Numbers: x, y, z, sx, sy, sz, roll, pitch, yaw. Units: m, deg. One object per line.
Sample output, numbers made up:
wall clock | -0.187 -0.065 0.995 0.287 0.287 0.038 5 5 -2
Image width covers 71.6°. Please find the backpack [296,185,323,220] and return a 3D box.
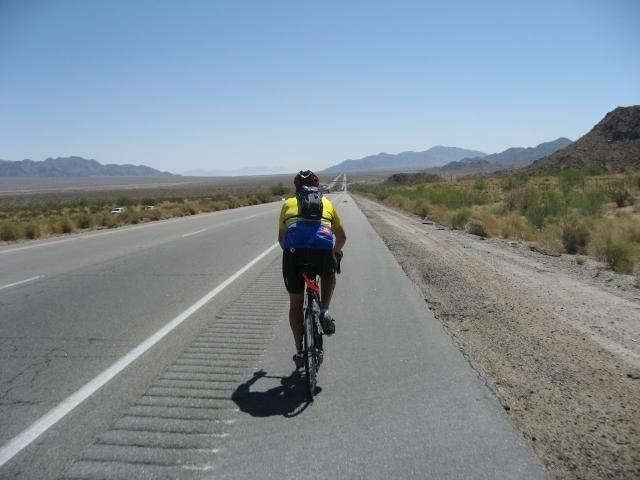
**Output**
backpack | -0.130 -0.454 5.316 0.259 0.431 0.367 0 -4 -13

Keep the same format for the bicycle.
bicycle | -0.004 1.059 5.663 0.451 0.947 1.408 -1 11 0

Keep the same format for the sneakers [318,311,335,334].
sneakers | 0.096 1.025 5.342 0.102 0.155 0.316 -4 -17 11

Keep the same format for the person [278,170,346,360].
person | -0.129 0.360 5.558 0.756 2.362 0.927 0 10 -1
